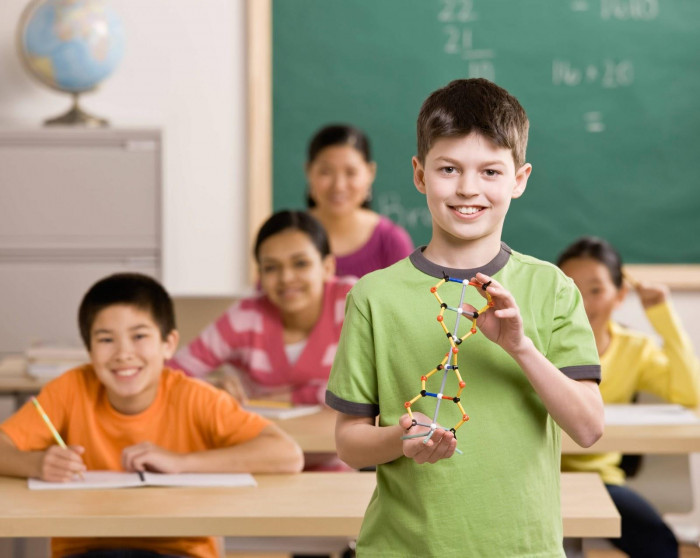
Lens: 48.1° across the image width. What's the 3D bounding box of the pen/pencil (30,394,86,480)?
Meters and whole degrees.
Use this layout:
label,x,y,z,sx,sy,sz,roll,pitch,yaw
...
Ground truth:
label,x,y,z,sx,sy,sz,roll,pitch,yaw
pen/pencil,-0.545,0.291,1.454,0.015,0.145,0.012,-31,-2,30
